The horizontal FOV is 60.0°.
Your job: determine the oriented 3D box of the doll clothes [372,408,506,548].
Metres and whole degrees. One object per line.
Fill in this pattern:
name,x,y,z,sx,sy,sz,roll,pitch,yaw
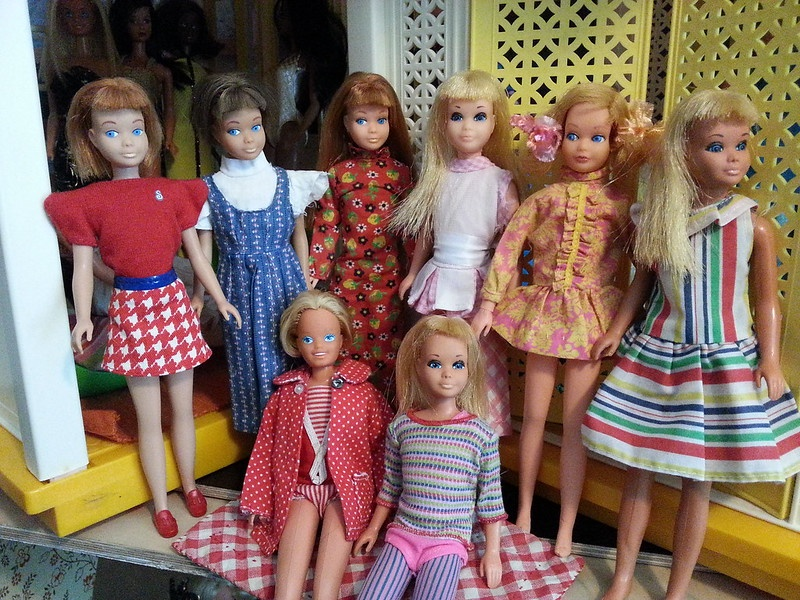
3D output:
doll clothes,0.177,0.852,3.294,0.677,0.692,0.351,2,-4,11

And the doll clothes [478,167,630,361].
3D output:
doll clothes,0.875,-0.192,3.540,0.957,0.918,0.620,2,11,-2

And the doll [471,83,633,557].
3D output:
doll,0.810,0.099,3.564,0.809,2.255,0.609,8,9,22

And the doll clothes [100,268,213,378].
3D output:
doll clothes,-1.267,0.119,3.533,0.604,0.575,0.329,-6,6,-21
